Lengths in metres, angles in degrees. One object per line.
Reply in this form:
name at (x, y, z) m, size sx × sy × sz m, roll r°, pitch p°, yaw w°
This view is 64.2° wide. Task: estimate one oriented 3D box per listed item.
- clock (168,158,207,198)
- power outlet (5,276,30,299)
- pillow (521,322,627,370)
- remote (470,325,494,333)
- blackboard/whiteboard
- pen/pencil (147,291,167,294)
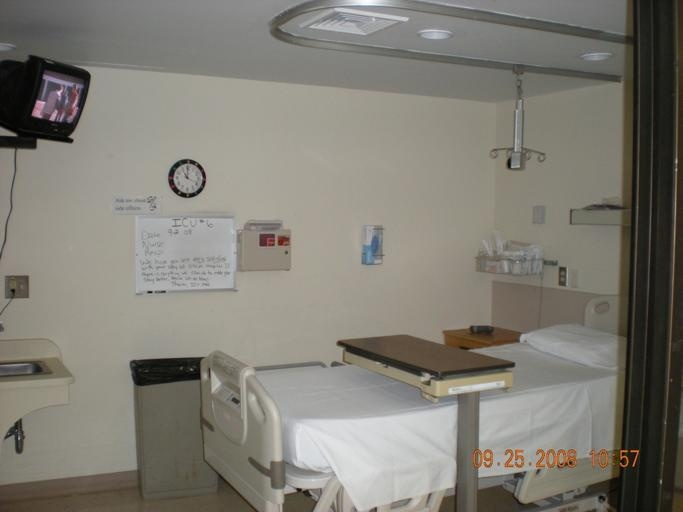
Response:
clock at (-1.057, -0.528, 3.679) m, size 0.230 × 0.243 × 0.030 m, roll 12°, pitch 2°, yaw -22°
power outlet at (-2.013, 0.193, 3.417) m, size 0.136 × 0.144 × 0.131 m, roll -1°, pitch 14°, yaw -20°
pillow at (1.310, 0.521, 3.065) m, size 0.339 × 0.110 × 0.549 m, roll -9°, pitch 15°, yaw 0°
remote at (1.082, 0.574, 4.214) m, size 0.113 × 0.042 × 0.075 m, roll 2°, pitch -4°, yaw 1°
blackboard/whiteboard at (-1.097, -0.011, 3.695) m, size 0.559 × 0.461 × 0.077 m, roll -1°, pitch 0°, yaw -17°
pen/pencil at (-1.241, 0.249, 3.651) m, size 0.114 × 0.018 × 0.022 m, roll -3°, pitch 2°, yaw -29°
